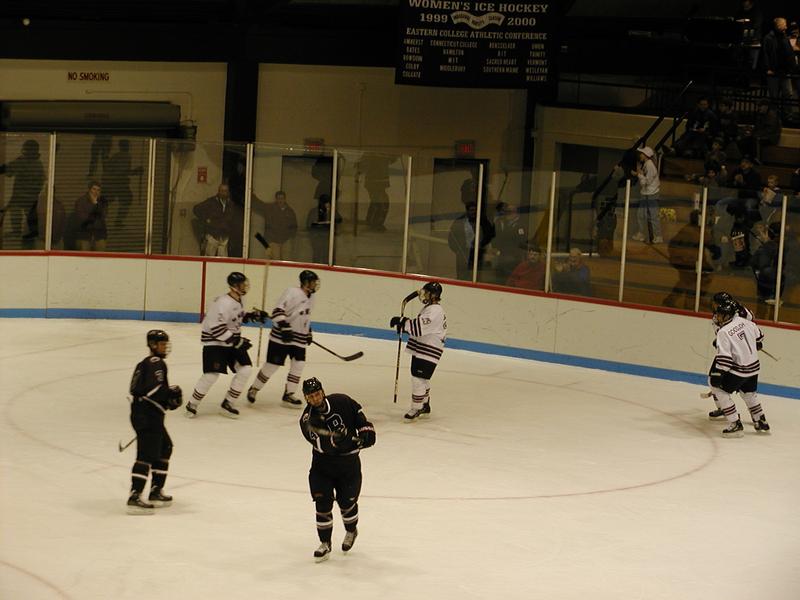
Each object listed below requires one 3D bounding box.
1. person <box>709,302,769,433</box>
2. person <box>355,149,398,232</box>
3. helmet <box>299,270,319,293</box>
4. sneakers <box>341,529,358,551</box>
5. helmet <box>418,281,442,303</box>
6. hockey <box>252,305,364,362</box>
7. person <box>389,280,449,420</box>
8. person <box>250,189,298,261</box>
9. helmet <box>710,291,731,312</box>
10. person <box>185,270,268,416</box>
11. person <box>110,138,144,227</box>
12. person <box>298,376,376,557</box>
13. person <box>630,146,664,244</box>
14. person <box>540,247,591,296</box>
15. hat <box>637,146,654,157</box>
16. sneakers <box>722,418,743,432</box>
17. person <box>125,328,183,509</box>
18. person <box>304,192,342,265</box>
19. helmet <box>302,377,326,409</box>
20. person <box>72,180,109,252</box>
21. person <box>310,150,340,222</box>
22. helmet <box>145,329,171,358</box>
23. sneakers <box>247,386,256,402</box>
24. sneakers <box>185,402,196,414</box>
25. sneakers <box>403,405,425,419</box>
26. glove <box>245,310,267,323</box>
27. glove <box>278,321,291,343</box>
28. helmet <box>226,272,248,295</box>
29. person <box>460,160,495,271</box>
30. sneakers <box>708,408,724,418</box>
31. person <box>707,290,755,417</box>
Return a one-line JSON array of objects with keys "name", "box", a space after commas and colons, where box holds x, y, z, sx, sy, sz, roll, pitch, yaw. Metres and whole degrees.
[{"name": "person", "box": [4.440, 0.846, 11.375, 0.768, 1.789, 0.548, 2, 14, -2]}, {"name": "person", "box": [-0.425, -1.920, 15.480, 0.727, 1.385, 0.205, 11, 16, 29]}, {"name": "helmet", "box": [-1.206, -0.244, 11.772, 0.302, 0.313, 0.241, 3, 3, 10]}, {"name": "sneakers", "box": [-0.459, 2.200, 7.980, 0.090, 0.267, 0.106, 4, -25, 12]}, {"name": "helmet", "box": [0.411, -0.113, 11.462, 0.273, 0.259, 0.221, 8, 5, 2]}, {"name": "hockey", "box": [-1.399, 0.547, 13.448, 0.235, 0.310, 2.040, -14, 24, -26]}, {"name": "person", "box": [0.290, 0.636, 11.606, 0.685, 1.785, 0.893, 1, 14, -7]}, {"name": "person", "box": [-2.236, -1.369, 15.934, 0.718, 1.222, 0.204, 1, 14, -7]}, {"name": "helmet", "box": [4.225, 0.015, 11.387, 0.211, 0.228, 0.242, 0, -11, 17]}, {"name": "person", "box": [-2.339, 0.523, 11.365, 0.789, 1.856, 0.924, 1, 14, -8]}, {"name": "person", "box": [-4.944, -2.103, 15.769, 0.597, 1.553, 0.149, -3, 15, -23]}, {"name": "person", "box": [-0.567, 1.509, 7.816, 0.651, 1.640, 0.398, 1, 14, -6]}, {"name": "person", "box": [4.049, -1.685, 14.075, 0.513, 1.402, 0.885, 6, 14, 12]}, {"name": "person", "box": [2.890, -0.502, 14.536, 0.684, 0.789, 0.445, 2, 29, 10]}, {"name": "hat", "box": [4.104, -2.485, 14.418, 0.214, 0.095, 0.295, 23, 5, 1]}, {"name": "sneakers", "box": [4.367, 1.632, 11.405, 0.257, 0.175, 0.152, -1, 3, -3]}, {"name": "person", "box": [-2.443, 1.203, 8.580, 0.531, 1.662, 0.582, -2, 15, -18]}, {"name": "person", "box": [-1.414, -1.179, 15.938, 0.567, 1.594, 0.343, 5, 34, -8]}, {"name": "helmet", "box": [-0.764, 0.816, 7.698, 0.205, 0.260, 0.192, 3, 14, 0]}, {"name": "person", "box": [-5.597, -1.513, 15.682, 0.594, 1.211, 0.189, -3, 15, -23]}, {"name": "person", "box": [-1.418, -1.994, 15.698, 0.383, 1.231, 0.161, 2, 14, -1]}, {"name": "helmet", "box": [-2.437, 0.443, 8.756, 0.278, 0.294, 0.231, 0, 3, -11]}, {"name": "sneakers", "box": [-1.984, 1.273, 11.759, 0.149, 0.194, 0.167, 1, -4, -31]}, {"name": "sneakers", "box": [-2.650, 1.377, 11.073, 0.098, 0.162, 0.160, 2, -4, -5]}, {"name": "sneakers", "box": [0.210, 1.472, 11.475, 0.118, 0.145, 0.326, 4, 2, 43]}, {"name": "glove", "box": [-1.933, 0.211, 11.770, 0.196, 0.093, 0.257, 3, -4, -25]}, {"name": "glove", "box": [-1.517, 0.414, 11.476, 0.088, 0.247, 0.179, 3, 3, -12]}, {"name": "helmet", "box": [-2.090, -0.214, 11.264, 0.247, 0.353, 0.396, 1, 14, -9]}, {"name": "person", "box": [1.374, -1.365, 14.720, 0.552, 1.858, 0.178, 4, 14, 3]}, {"name": "sneakers", "box": [4.361, 1.557, 11.985, 0.125, 0.118, 0.267, -1, 4, -26]}, {"name": "person", "box": [4.434, 0.741, 11.527, 0.515, 1.659, 1.184, 15, 26, 20]}]
